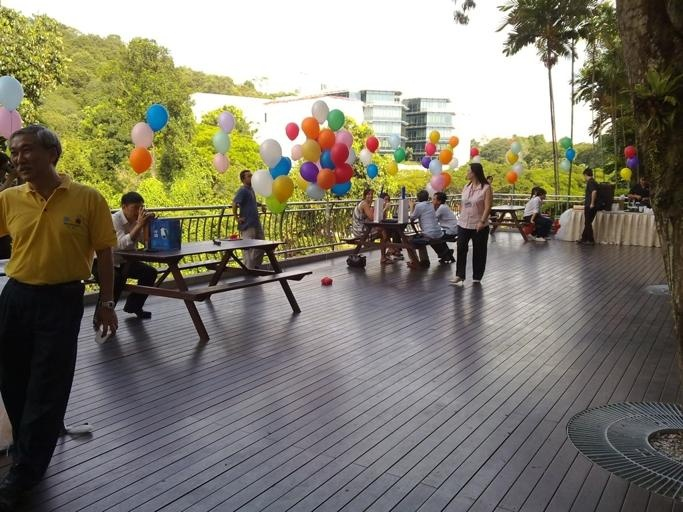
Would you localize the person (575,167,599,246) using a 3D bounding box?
[{"bbox_3d":[7.125,-1.441,12.781,0.417,2.141,1.148,3,10,28],"label":"person"}]

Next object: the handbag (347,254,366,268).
[{"bbox_3d":[0.299,0.099,9.119,0.359,0.250,0.307,-2,9,-3],"label":"handbag"}]

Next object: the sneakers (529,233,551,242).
[{"bbox_3d":[6.087,-0.536,13.711,0.660,0.269,0.245,9,27,-5],"label":"sneakers"}]

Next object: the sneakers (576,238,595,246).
[{"bbox_3d":[7.011,-0.422,12.955,0.564,0.252,0.211,5,6,18],"label":"sneakers"}]

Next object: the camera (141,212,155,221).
[{"bbox_3d":[-2.134,-0.432,4.942,0.077,0.107,0.400,-4,10,-16],"label":"camera"}]

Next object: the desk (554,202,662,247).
[{"bbox_3d":[7.385,-0.831,12.331,2.023,0.603,1.307,2,9,23],"label":"desk"}]

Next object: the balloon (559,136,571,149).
[{"bbox_3d":[8.384,-4.233,16.661,0.375,0.458,0.887,3,10,25],"label":"balloon"}]

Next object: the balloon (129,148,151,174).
[{"bbox_3d":[-3.266,-1.549,7.215,0.291,0.387,0.842,-5,10,-25],"label":"balloon"}]

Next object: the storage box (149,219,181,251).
[{"bbox_3d":[-2.023,-0.243,5.079,0.307,0.314,0.177,6,8,21],"label":"storage box"}]

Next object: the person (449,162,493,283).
[{"bbox_3d":[2.321,-0.584,7.881,0.593,2.071,0.984,1,9,17],"label":"person"}]

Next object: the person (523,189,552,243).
[{"bbox_3d":[6.165,-1.358,14.007,0.814,1.607,1.680,3,10,24],"label":"person"}]

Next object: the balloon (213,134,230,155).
[{"bbox_3d":[-2.321,-2.198,8.572,0.357,0.477,0.386,-3,-25,-15],"label":"balloon"}]

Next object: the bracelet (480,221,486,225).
[{"bbox_3d":[2.360,-0.539,7.452,0.076,0.056,0.081,7,-29,-45],"label":"bracelet"}]

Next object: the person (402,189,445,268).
[{"bbox_3d":[1.770,-0.619,9.525,0.724,1.562,0.635,-6,10,-28],"label":"person"}]

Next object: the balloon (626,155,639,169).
[{"bbox_3d":[11.251,-3.594,17.275,0.624,0.527,0.486,-20,19,-35],"label":"balloon"}]

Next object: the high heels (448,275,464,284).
[{"bbox_3d":[1.984,0.402,7.727,0.251,0.131,0.103,7,8,-10],"label":"high heels"}]

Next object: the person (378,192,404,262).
[{"bbox_3d":[1.111,-0.755,10.289,0.613,1.786,0.563,-5,-22,-3],"label":"person"}]

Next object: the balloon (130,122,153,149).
[{"bbox_3d":[-3.195,-1.932,7.147,0.299,0.445,0.558,-5,10,-23],"label":"balloon"}]
